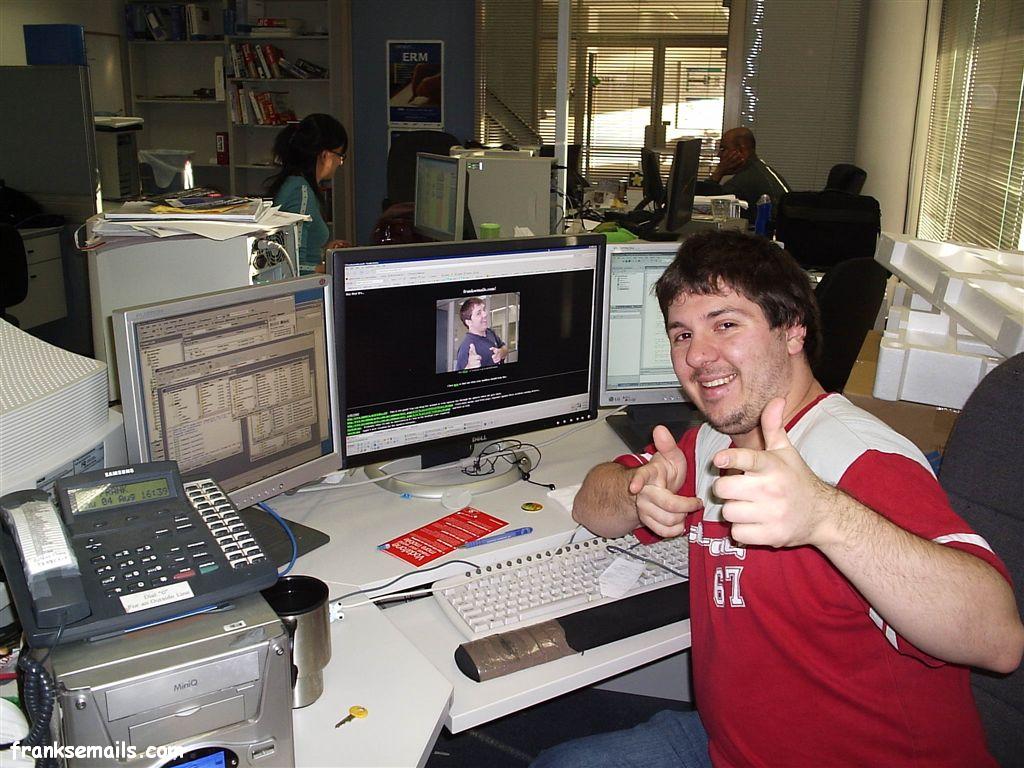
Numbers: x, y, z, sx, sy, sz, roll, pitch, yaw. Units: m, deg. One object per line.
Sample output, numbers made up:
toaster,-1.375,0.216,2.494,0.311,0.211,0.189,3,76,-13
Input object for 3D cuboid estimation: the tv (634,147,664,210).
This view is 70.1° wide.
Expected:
tv,1.050,-1.626,5.740,0.113,0.437,0.137,10,-9,9

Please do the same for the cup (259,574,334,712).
cup,-0.363,0.452,1.202,0.115,0.166,0.172,-3,2,-9

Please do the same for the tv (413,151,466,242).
tv,-0.353,-0.892,3.542,0.048,0.405,0.583,-4,20,-25

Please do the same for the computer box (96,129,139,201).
computer box,-2.305,-1.297,4.319,0.223,0.380,0.273,15,25,41

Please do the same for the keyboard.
keyboard,0.074,0.426,1.551,0.461,0.047,0.143,-10,36,-28

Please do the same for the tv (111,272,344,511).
tv,-0.568,0.027,1.493,0.487,0.458,0.066,-20,22,-40

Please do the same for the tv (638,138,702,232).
tv,0.936,-1.259,4.661,0.422,0.595,0.877,6,22,17

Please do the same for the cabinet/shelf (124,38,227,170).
cabinet/shelf,-3.164,-2.855,6.977,0.847,0.325,1.297,-7,52,-22

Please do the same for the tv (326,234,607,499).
tv,-0.112,-0.043,1.921,0.831,0.629,0.264,-10,20,-38

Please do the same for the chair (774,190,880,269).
chair,1.919,-0.954,4.254,0.535,0.463,0.334,7,45,34
